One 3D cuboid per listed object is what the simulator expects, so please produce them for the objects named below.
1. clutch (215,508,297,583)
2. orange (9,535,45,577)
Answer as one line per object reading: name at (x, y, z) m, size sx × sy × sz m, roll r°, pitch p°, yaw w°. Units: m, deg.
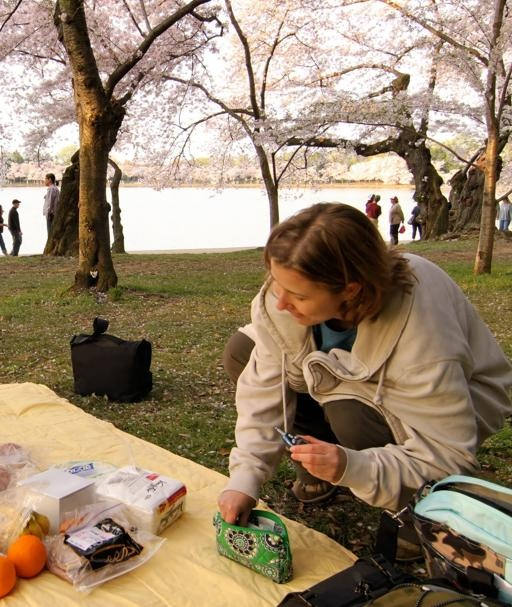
clutch at (-0.015, 0.722, 1.561) m, size 0.290 × 0.149 × 0.106 m, roll 3°, pitch 12°, yaw 38°
orange at (-0.651, 0.713, 1.448) m, size 0.102 × 0.115 × 0.081 m, roll 9°, pitch 9°, yaw 19°
